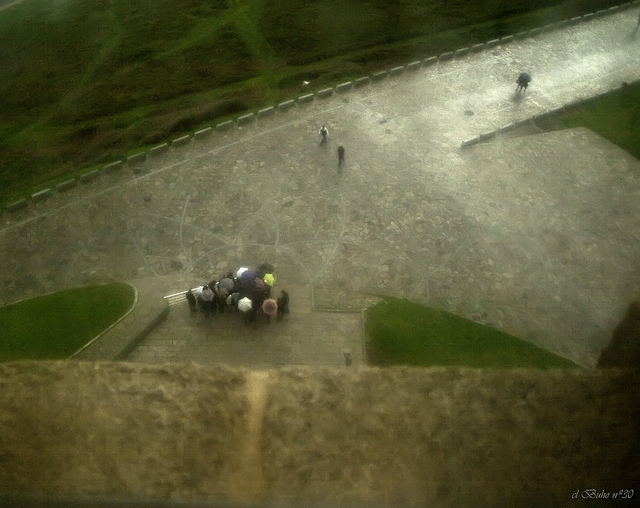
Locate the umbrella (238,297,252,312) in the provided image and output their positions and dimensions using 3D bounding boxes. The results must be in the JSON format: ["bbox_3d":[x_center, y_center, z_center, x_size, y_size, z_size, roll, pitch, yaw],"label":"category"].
[{"bbox_3d":[-4.895,3.293,51.915,0.891,0.770,0.750,-8,43,-1],"label":"umbrella"}]

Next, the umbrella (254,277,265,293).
[{"bbox_3d":[-3.975,2.077,52.456,0.636,0.614,0.731,-4,44,3],"label":"umbrella"}]

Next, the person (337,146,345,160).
[{"bbox_3d":[1.569,-7.734,60.358,0.522,1.273,1.081,-5,43,1],"label":"person"}]

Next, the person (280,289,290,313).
[{"bbox_3d":[-2.285,3.073,52.658,0.401,0.760,1.613,-2,88,4],"label":"person"}]

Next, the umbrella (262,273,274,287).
[{"bbox_3d":[-3.451,1.710,52.967,0.619,0.662,0.469,13,69,-7],"label":"umbrella"}]

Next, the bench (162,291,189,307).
[{"bbox_3d":[-9.642,2.942,53.603,1.311,0.780,0.477,-15,43,-8],"label":"bench"}]

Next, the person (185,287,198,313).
[{"bbox_3d":[-8.511,3.128,53.077,0.487,1.644,0.534,-16,42,-11],"label":"person"}]
